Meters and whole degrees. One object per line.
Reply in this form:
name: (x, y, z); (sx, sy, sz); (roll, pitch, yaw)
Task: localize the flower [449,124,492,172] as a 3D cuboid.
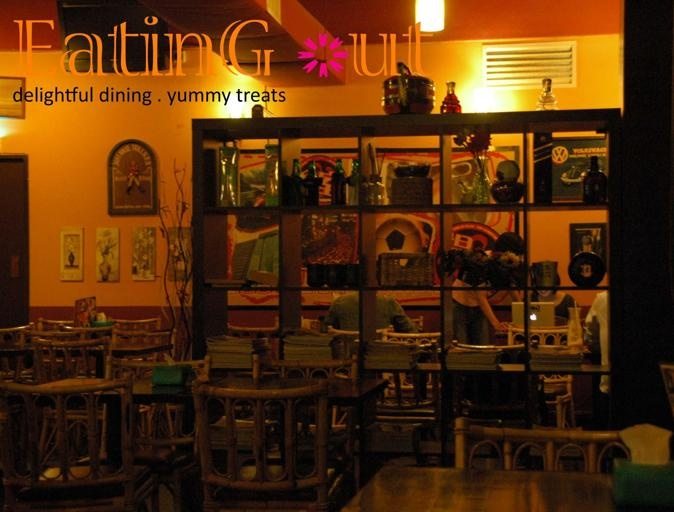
flower: (0.996, -0.796, 7.813); (0.172, 0.322, 0.294); (-3, 3, -39)

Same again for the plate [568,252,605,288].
plate: (1.833, 0.101, 7.670); (0.274, 0.257, 0.193); (-1, 3, 6)

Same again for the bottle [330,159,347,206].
bottle: (0.019, -0.544, 7.899); (0.117, 0.326, 0.233); (-1, 3, 1)

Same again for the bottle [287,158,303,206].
bottle: (-0.314, -0.564, 7.954); (0.114, 0.363, 0.163); (-1, 2, -3)

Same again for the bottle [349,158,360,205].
bottle: (0.130, -0.558, 7.897); (0.087, 0.345, 0.231); (-1, 3, 1)

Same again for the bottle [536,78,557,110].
bottle: (1.594, -1.227, 7.980); (0.137, 0.273, 0.610); (-1, 3, 11)

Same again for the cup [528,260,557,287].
cup: (1.525, 0.137, 7.759); (0.203, 0.196, 0.169); (-1, -2, 11)

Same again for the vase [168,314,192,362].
vase: (-1.582, 0.866, 10.756); (0.196, 0.563, 0.132); (1, -5, -34)

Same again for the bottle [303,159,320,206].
bottle: (-0.186, -0.547, 7.988); (0.126, 0.342, 0.349); (-1, 3, -2)

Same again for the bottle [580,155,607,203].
bottle: (1.885, -0.553, 7.662); (0.177, 0.357, 0.143); (-1, 2, 12)

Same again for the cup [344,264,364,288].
cup: (0.107, 0.157, 7.867); (0.160, 0.175, 0.157); (0, 2, 0)

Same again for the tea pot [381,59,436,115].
tea pot: (0.523, -1.245, 7.911); (0.410, 0.357, 0.524); (-1, -2, 20)

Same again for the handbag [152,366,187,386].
handbag: (-1.108, 0.792, 6.902); (0.152, 0.093, 0.149); (0, -3, 6)

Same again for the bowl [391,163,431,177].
bowl: (0.554, -0.632, 7.855); (0.268, 0.092, 0.173); (-1, 3, 8)

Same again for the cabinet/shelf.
cabinet/shelf: (0.579, 0.388, 7.749); (3.201, 2.900, 0.943); (0, -4, 2)

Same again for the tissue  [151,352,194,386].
tissue : (-1.095, 0.752, 6.995); (0.173, 0.163, 0.243); (0, 0, 1)

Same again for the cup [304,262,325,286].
cup: (-0.156, 0.144, 7.974); (0.158, 0.174, 0.163); (0, 1, 0)
